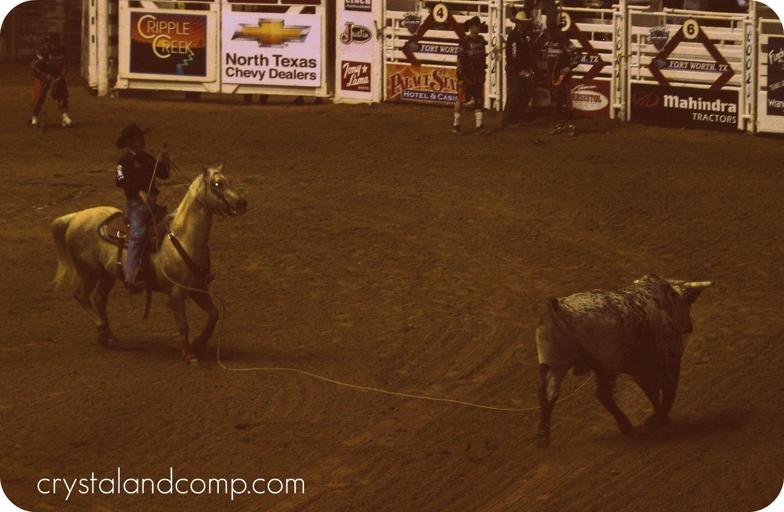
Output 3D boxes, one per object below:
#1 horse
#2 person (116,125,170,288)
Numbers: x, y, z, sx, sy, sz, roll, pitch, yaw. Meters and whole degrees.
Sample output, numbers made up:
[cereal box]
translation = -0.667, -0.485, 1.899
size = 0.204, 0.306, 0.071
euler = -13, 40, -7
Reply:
[horse]
translation = -3.758, 0.110, 19.267
size = 4.813, 2.745, 1.245
euler = 4, 7, 41
[person]
translation = -3.704, -0.754, 18.532
size = 0.769, 2.372, 0.770
euler = -1, 21, -13
